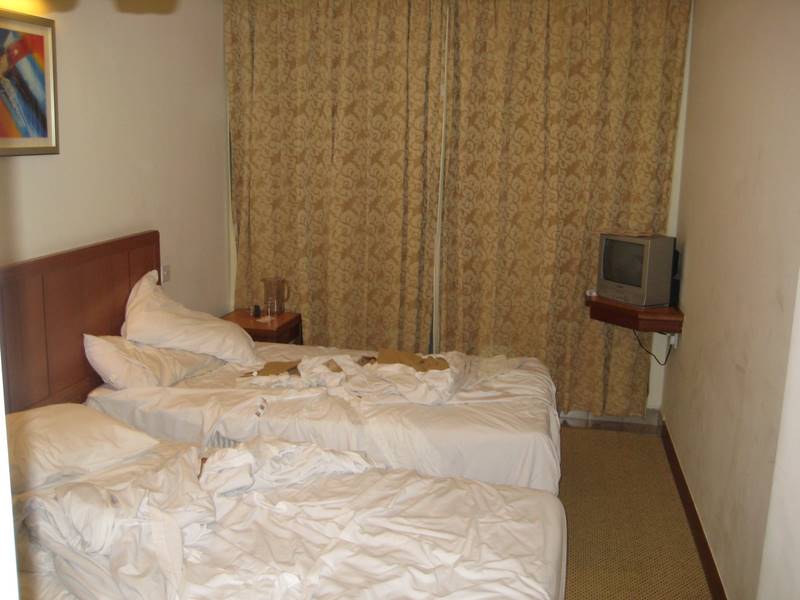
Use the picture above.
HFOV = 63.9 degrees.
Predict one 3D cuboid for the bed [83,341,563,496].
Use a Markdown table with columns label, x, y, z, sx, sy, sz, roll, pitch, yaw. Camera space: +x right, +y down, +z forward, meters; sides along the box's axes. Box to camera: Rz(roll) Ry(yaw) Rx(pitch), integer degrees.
| label | x | y | z | sx | sy | sz | roll | pitch | yaw |
| --- | --- | --- | --- | --- | --- | --- | --- | --- | --- |
| bed | -0.214 | 0.666 | 3.844 | 1.823 | 0.573 | 1.210 | 5 | 21 | 10 |

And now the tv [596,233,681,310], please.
| label | x | y | z | sx | sy | sz | roll | pitch | yaw |
| --- | --- | --- | --- | --- | --- | --- | --- | --- | --- |
| tv | 1.762 | -0.294 | 5.027 | 0.479 | 0.746 | 0.664 | -3 | 9 | -28 |

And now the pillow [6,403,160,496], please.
| label | x | y | z | sx | sy | sz | roll | pitch | yaw |
| --- | --- | --- | --- | --- | --- | --- | --- | --- | --- |
| pillow | -1.471 | 0.694 | 2.929 | 0.394 | 0.119 | 0.450 | -7 | 22 | -38 |

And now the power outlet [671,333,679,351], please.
| label | x | y | z | sx | sy | sz | roll | pitch | yaw |
| --- | --- | --- | --- | --- | --- | --- | --- | --- | --- |
| power outlet | 2.098 | 0.312 | 4.864 | 0.019 | 0.090 | 0.077 | 1 | 2 | -12 |

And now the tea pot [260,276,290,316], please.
| label | x | y | z | sx | sy | sz | roll | pitch | yaw |
| --- | --- | --- | --- | --- | --- | --- | --- | --- | --- |
| tea pot | -1.078 | -0.027 | 5.603 | 0.310 | 0.395 | 0.216 | 3 | 4 | 7 |
